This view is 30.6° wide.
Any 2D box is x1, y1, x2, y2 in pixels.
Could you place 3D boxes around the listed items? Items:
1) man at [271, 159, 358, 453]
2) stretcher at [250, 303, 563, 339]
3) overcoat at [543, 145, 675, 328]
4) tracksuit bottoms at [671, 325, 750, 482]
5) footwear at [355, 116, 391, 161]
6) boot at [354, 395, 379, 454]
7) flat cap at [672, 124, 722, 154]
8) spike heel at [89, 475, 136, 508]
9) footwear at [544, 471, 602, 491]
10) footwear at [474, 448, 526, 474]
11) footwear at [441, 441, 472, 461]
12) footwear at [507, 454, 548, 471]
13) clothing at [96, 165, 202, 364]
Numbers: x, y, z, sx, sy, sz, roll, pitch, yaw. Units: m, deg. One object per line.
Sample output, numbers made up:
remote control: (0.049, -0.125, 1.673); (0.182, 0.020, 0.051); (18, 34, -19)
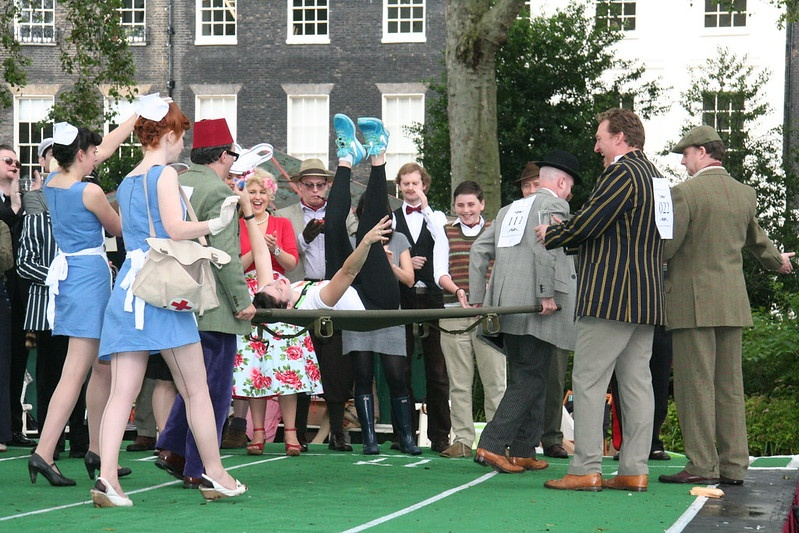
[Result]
man: (-1.069, 0.560, 19.617); (1.233, 3.734, 1.165); (-8, 4, -31)
stretcher: (-0.188, 0.610, 17.520); (3.038, 0.311, 1.055); (-1, -10, -27)
overcoat: (2.694, -0.290, 18.466); (1.853, 2.574, 1.812); (0, -2, 35)
tracksuit bottoms: (3.768, 1.670, 17.733); (0.868, 1.847, 0.435); (-1, 2, 7)
footwear: (-0.339, -1.555, 17.642); (0.240, 0.426, 0.642); (1, -21, 18)
boot: (-0.438, 2.062, 19.161); (0.319, 0.789, 0.430); (-1, 1, -1)
flat cap: (3.672, -1.577, 18.034); (0.488, 0.232, 0.345); (3, 3, 17)
spike heel: (-3.279, 2.612, 16.679); (0.202, 0.244, 0.598); (-1, -4, 24)
footwear: (2.058, 2.576, 17.475); (0.679, 0.276, 0.240); (1, -4, 10)
footwear: (1.185, 2.410, 18.149); (0.714, 0.293, 0.233); (16, -6, -14)
footwear: (0.758, 2.430, 19.282); (0.449, 0.194, 0.172); (5, -8, -28)
footwear: (1.603, 2.481, 18.443); (0.474, 0.193, 0.181); (-2, 3, -14)
clothing: (-2.915, -0.034, 16.653); (1.062, 2.215, 0.321); (-1, 2, 8)
